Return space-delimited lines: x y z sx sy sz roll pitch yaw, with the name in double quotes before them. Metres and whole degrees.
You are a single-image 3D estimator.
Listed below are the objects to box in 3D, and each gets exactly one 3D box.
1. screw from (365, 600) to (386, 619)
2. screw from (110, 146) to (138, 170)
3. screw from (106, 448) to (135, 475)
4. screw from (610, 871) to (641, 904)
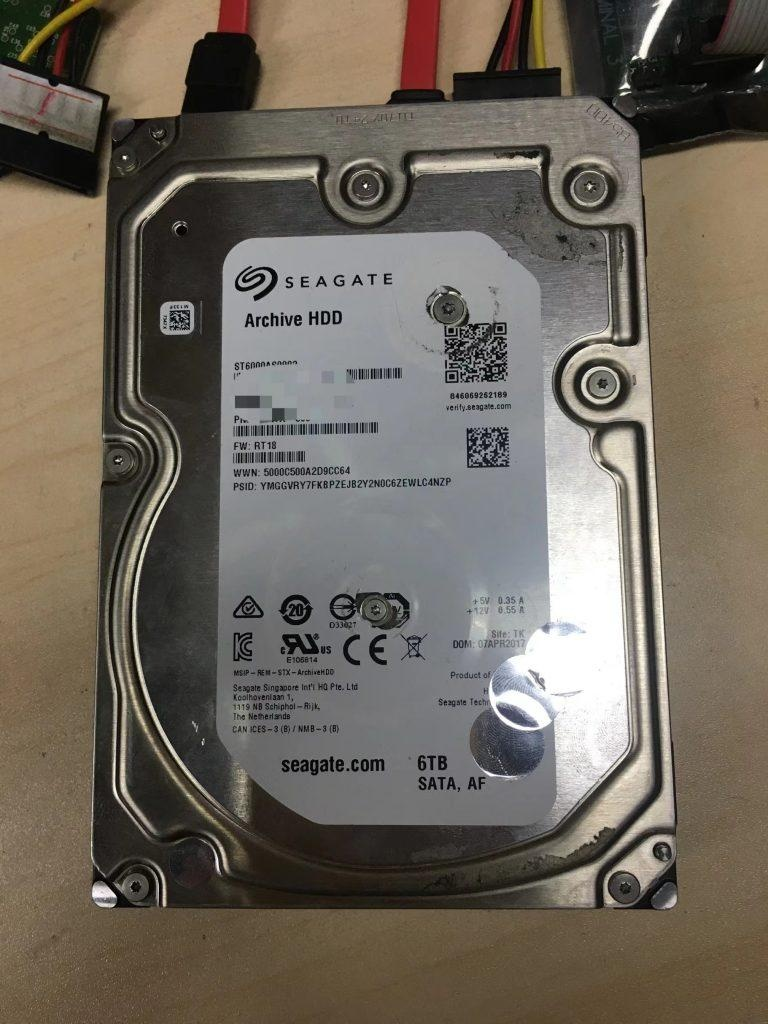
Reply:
"screw" -0.011 0.101 1.176 0.023 0.002 0.022 -9 85 -1
"screw" -0.293 -0.397 1.273 0.026 0.018 0.022 3 98 5
"screw" -0.286 -0.053 1.226 0.035 0.016 0.027 7 88 15
"screw" 0.237 0.377 1.134 0.031 0.002 0.032 2 85 0
